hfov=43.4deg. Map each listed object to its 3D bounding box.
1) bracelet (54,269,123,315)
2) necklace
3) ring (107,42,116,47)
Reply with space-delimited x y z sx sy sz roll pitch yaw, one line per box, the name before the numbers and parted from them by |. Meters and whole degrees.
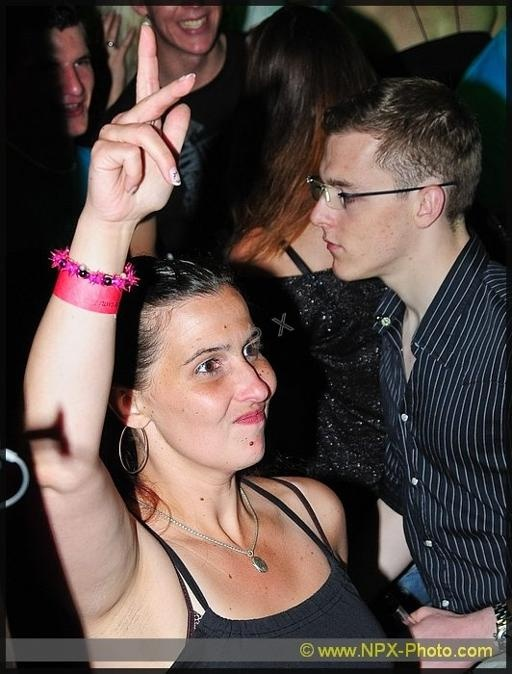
bracelet | -0.248 -0.063 0.956 0.079 0.030 0.076 18 2 12
necklace | -0.091 0.420 1.368 0.165 0.021 0.177 49 29 9
ring | -0.466 -0.942 2.074 0.018 0.015 0.006 -1 5 -7
